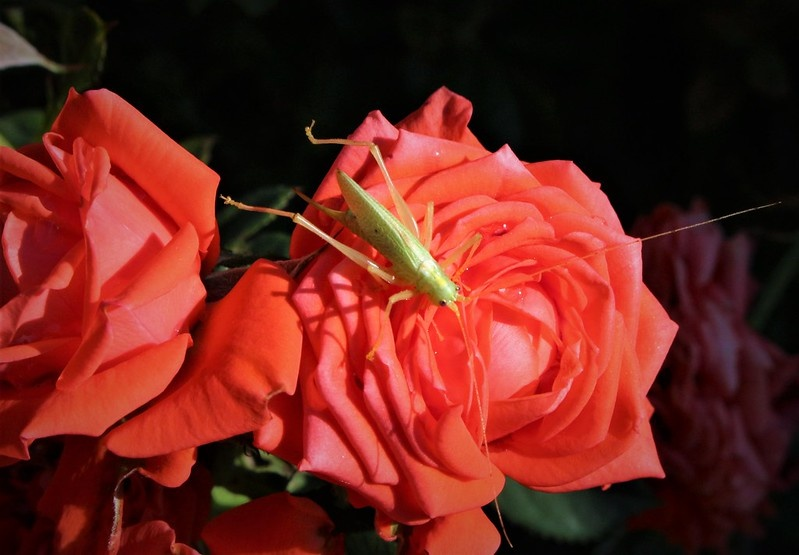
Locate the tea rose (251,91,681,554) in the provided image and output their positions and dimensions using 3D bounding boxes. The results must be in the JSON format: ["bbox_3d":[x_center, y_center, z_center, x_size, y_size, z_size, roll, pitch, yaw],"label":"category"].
[{"bbox_3d":[0.088,0.056,0.863,0.428,0.358,0.163,12,7,-10],"label":"tea rose"}]

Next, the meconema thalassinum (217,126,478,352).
[{"bbox_3d":[-0.040,-0.047,0.847,0.253,0.172,0.074,45,9,12],"label":"meconema thalassinum"}]
